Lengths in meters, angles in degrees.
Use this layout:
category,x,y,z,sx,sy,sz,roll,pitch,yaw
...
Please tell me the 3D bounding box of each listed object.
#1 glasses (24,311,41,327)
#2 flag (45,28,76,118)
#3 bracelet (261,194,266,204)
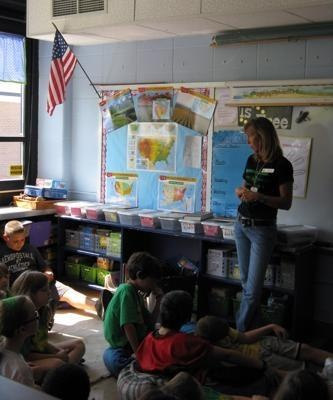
category,x,y,z,sx,sy,sz,roll,pitch,yaw
glasses,-0.590,0.520,1.428,0.036,0.070,0.126,0,5,-9
flag,-1.143,-1.368,3.538,0.295,0.813,0.490,-1,5,-25
bracelet,0.727,-0.003,2.401,0.035,0.050,0.012,-1,1,-12
